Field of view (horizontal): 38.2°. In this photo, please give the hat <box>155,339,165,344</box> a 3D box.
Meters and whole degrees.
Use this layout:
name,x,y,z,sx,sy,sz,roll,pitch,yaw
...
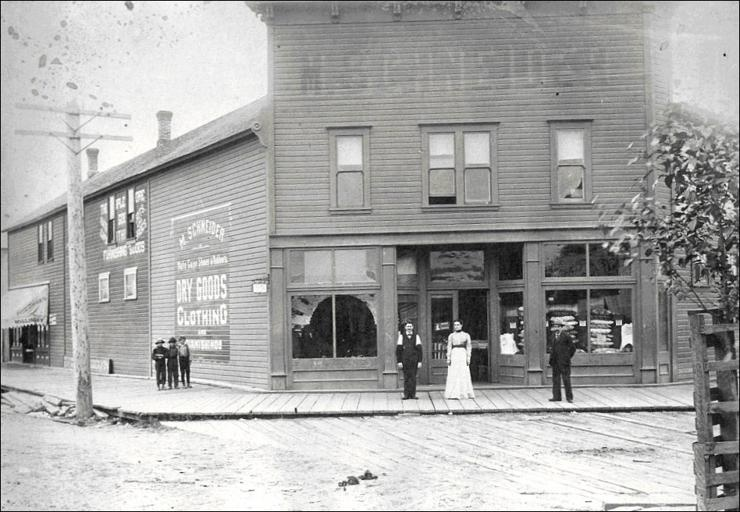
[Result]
name,x,y,z,sx,sy,sz,roll,pitch,yaw
hat,-6.603,2.667,33.624,0.264,0.087,0.263,0,-5,-5

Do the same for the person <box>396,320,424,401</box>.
name,x,y,z,sx,sy,sz,roll,pitch,yaw
person,1.034,2.809,29.046,0.666,2.151,1.066,-1,-9,1

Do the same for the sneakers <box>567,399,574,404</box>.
name,x,y,z,sx,sy,sz,roll,pitch,yaw
sneakers,5.186,3.742,27.696,0.091,0.111,0.119,-6,-7,41

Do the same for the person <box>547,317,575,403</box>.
name,x,y,z,sx,sy,sz,roll,pitch,yaw
person,5.053,2.830,28.187,0.713,2.043,0.800,-4,-9,20

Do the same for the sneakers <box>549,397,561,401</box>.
name,x,y,z,sx,sy,sz,roll,pitch,yaw
sneakers,4.812,3.733,27.962,0.316,0.135,0.103,5,0,26

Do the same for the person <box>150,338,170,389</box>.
name,x,y,z,sx,sy,sz,roll,pitch,yaw
person,-6.461,3.305,32.846,0.453,1.601,1.575,0,-9,-11

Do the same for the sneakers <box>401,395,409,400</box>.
name,x,y,z,sx,sy,sz,roll,pitch,yaw
sneakers,0.944,3.775,28.741,0.217,0.132,0.078,8,-9,-33
